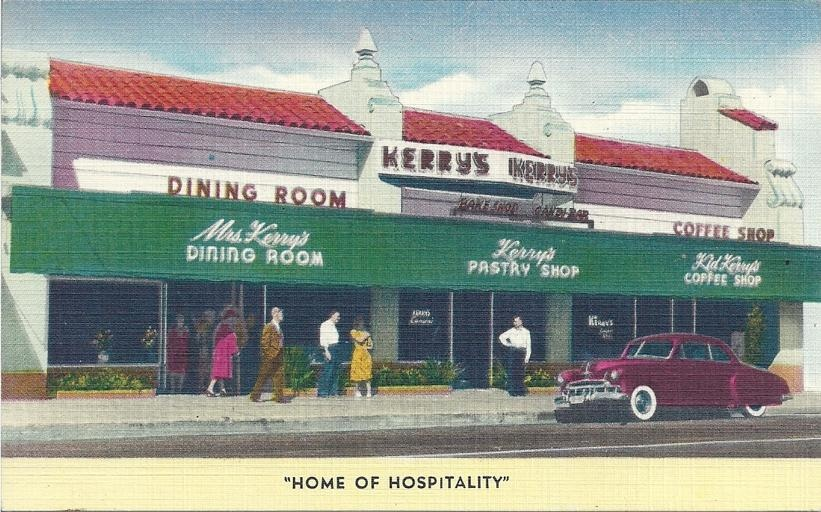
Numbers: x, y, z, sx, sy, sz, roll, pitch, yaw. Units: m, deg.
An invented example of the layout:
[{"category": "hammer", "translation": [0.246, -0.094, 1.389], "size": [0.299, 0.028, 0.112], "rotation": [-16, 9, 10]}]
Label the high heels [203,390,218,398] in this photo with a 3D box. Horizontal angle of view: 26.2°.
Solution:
[{"category": "high heels", "translation": [-2.838, 1.969, 25.278], "size": [0.218, 0.069, 0.067], "rotation": [14, 0, -1]}]
